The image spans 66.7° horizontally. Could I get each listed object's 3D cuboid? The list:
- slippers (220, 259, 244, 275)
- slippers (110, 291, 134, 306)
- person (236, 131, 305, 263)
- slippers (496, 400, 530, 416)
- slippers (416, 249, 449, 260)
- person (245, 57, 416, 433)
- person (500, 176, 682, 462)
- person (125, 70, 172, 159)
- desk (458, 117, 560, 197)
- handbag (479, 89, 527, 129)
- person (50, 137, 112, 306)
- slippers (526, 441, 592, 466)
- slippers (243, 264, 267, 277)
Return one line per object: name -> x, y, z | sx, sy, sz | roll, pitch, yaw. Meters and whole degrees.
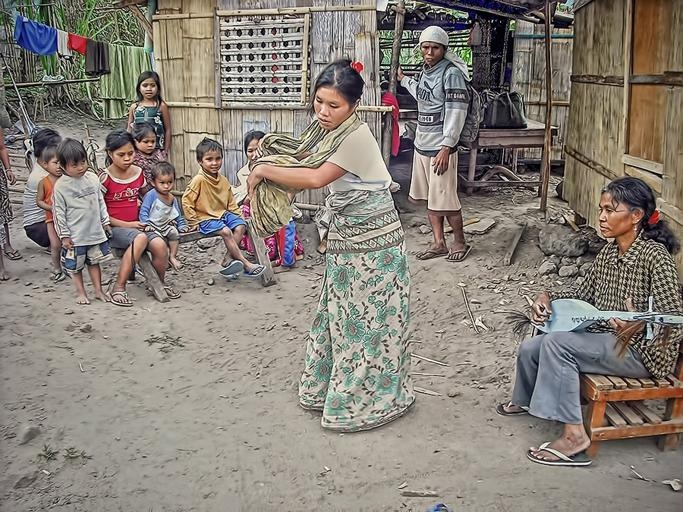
slippers -> -1.283, 0.149, 6.067 | 0.298, 0.132, 0.135 | -16, 19, 35
slippers -> -2.413, 0.463, 5.702 | 0.278, 0.094, 0.139 | 4, 6, 39
person -> -0.858, -0.731, 6.740 | 0.817, 1.732, 0.705 | 16, 41, 26
slippers -> 1.271, 1.122, 3.890 | 0.216, 0.046, 0.110 | 3, 11, 14
slippers -> 1.136, -0.038, 6.523 | 0.344, 0.072, 0.149 | -2, 8, -15
person -> -0.023, -0.012, 3.599 | 1.048, 2.543, 0.502 | -1, 17, 6
person -> 1.643, 0.395, 3.339 | 0.947, 1.764, 0.662 | -2, 17, 0
person -> -3.005, -1.914, 8.032 | 0.711, 1.658, 0.555 | -5, 20, -32
desk -> 2.649, -1.729, 8.890 | 1.758, 0.969, 1.663 | -1, 19, 1
handbag -> 2.461, -2.246, 8.074 | 0.777, 0.604, 0.362 | -1, 12, -10
person -> -2.754, -0.371, 5.558 | 0.533, 1.736, 0.344 | -12, 19, -28
slippers -> 1.376, 1.273, 3.322 | 0.290, 0.062, 0.155 | 3, 8, 10
slippers -> -1.036, 0.181, 6.251 | 0.239, 0.098, 0.123 | -13, 43, 34
